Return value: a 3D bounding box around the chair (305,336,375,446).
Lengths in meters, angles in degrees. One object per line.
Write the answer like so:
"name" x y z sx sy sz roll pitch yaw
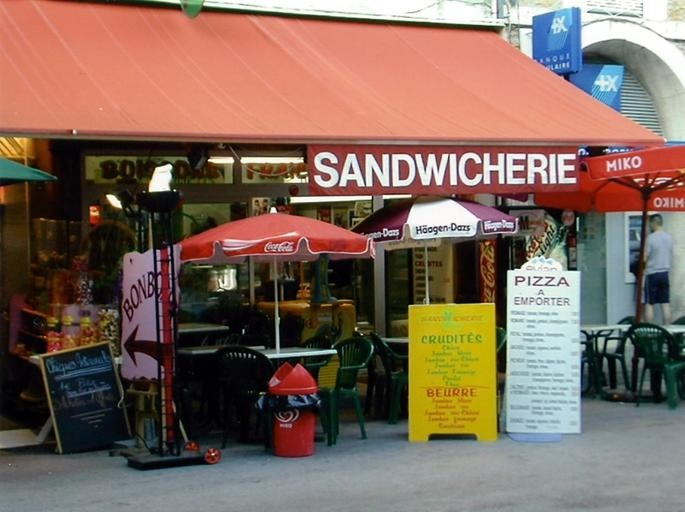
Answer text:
"chair" -0.162 1.528 12.574 0.992 1.130 0.953 0 -2 1

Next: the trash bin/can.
"trash bin/can" -0.578 1.677 11.862 0.622 0.917 0.621 -4 -8 21

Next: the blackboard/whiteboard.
"blackboard/whiteboard" -2.906 1.557 12.564 1.055 1.439 1.094 -9 2 -27

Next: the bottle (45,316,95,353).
"bottle" -3.076 0.906 12.495 0.458 0.286 0.423 -3 -3 0

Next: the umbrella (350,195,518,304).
"umbrella" 1.132 0.077 13.551 1.569 0.978 1.516 -2 -4 -2

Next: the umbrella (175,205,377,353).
"umbrella" -0.856 0.161 12.445 1.804 1.484 1.777 3 -4 -25
